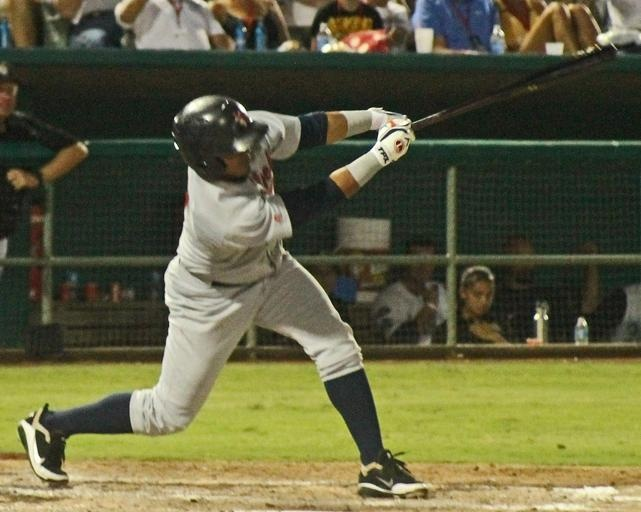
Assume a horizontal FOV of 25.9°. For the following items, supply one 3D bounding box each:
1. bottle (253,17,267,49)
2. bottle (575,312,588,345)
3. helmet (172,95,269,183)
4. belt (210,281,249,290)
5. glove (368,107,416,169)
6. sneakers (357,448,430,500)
[{"bbox_3d":[-0.358,-1.313,8.389,0.077,0.195,0.160,1,0,-3],"label":"bottle"},{"bbox_3d":[1.672,0.465,8.895,0.092,0.169,0.223,0,0,10],"label":"bottle"},{"bbox_3d":[-0.469,-0.512,6.443,0.484,0.419,0.333,-12,29,2],"label":"helmet"},{"bbox_3d":[-0.420,0.134,6.591,0.183,0.024,0.030,1,0,-16],"label":"belt"},{"bbox_3d":[0.352,-0.530,6.715,0.287,0.242,0.118,2,-32,4],"label":"glove"},{"bbox_3d":[0.322,1.045,6.730,0.422,0.190,0.160,2,-5,3],"label":"sneakers"}]
